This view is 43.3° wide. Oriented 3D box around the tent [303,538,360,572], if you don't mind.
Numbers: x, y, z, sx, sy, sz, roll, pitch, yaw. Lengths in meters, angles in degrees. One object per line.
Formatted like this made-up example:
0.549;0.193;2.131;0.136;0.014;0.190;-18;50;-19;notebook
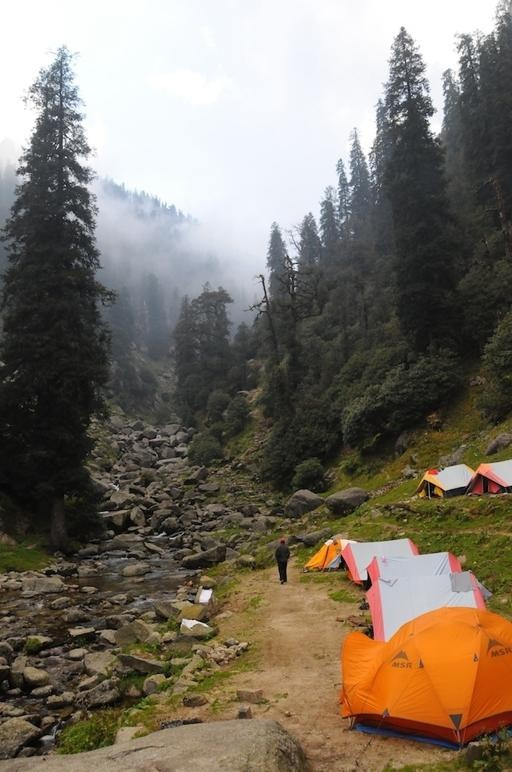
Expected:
2.771;6.599;24.055;1.650;0.830;1.660;-10;-4;9;tent

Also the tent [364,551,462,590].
4.361;4.976;17.763;1.760;0.704;1.468;-8;-24;-8;tent

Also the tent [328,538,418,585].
3.999;5.418;21.088;1.868;0.794;1.595;-21;-15;-14;tent

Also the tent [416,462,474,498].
8.292;3.978;27.360;1.645;0.733;1.598;-3;-15;-37;tent
